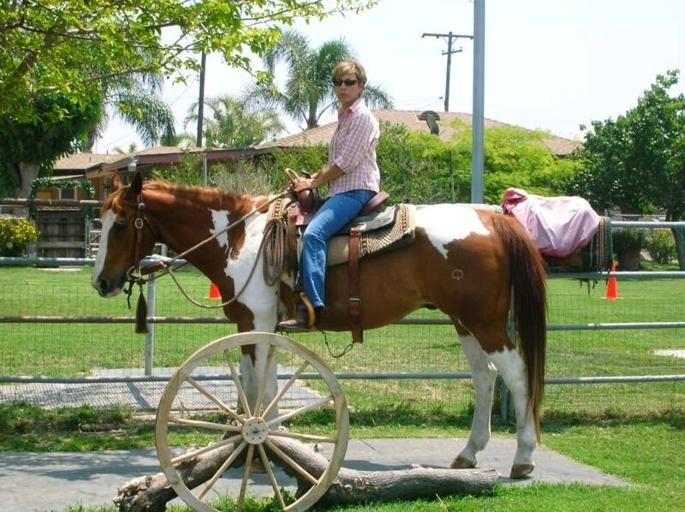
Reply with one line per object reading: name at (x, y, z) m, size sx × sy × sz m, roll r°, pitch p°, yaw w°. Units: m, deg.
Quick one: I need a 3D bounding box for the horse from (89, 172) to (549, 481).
horse at (-0.279, 0.936, 14.359) m, size 5.888 × 3.655 × 1.406 m, roll 1°, pitch 0°, yaw -1°
